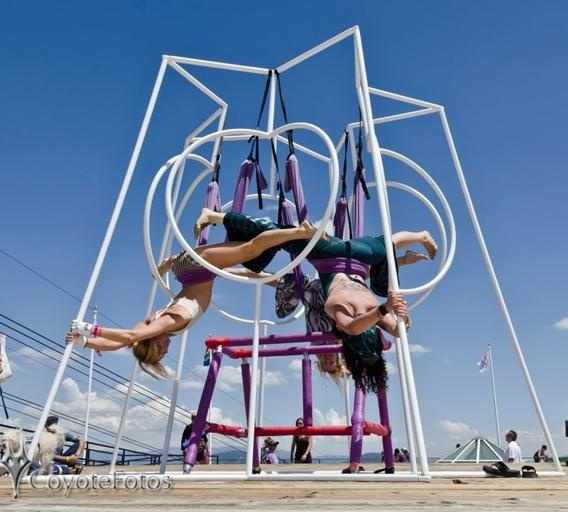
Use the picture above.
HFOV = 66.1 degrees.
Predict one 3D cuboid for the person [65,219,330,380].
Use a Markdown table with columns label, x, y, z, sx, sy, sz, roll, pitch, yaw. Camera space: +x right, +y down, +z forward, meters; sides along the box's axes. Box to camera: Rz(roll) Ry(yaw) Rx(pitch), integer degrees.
| label | x | y | z | sx | sy | sz | roll | pitch | yaw |
| --- | --- | --- | --- | --- | --- | --- | --- | --- | --- |
| person | -1.006 | 0.497 | 4.955 | 2.252 | 1.539 | 1.122 | -7 | -29 | 13 |

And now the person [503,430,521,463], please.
| label | x | y | z | sx | sy | sz | roll | pitch | yaw |
| --- | --- | --- | --- | --- | --- | --- | --- | --- | --- |
| person | 5.571 | 4.674 | 10.710 | 0.354 | 0.700 | 1.350 | -12 | -30 | 22 |

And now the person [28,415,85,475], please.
| label | x | y | z | sx | sy | sz | roll | pitch | yaw |
| --- | --- | --- | --- | --- | --- | --- | --- | --- | --- |
| person | -3.506 | 3.109 | 7.062 | 0.614 | 0.774 | 0.668 | 3 | -22 | 14 |

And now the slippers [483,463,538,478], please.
| label | x | y | z | sx | sy | sz | roll | pitch | yaw |
| --- | --- | --- | --- | --- | --- | --- | --- | --- | --- |
| slippers | 2.355 | 2.218 | 4.552 | 0.518 | 0.148 | 0.418 | -4 | -27 | 7 |

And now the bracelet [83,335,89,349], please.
| label | x | y | z | sx | sy | sz | roll | pitch | yaw |
| --- | --- | --- | --- | --- | --- | --- | --- | --- | --- |
| bracelet | -2.054 | 0.883 | 4.503 | 0.076 | 0.101 | 0.033 | 1 | 3 | 7 |

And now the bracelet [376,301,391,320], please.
| label | x | y | z | sx | sy | sz | roll | pitch | yaw |
| --- | --- | --- | --- | --- | --- | --- | --- | --- | --- |
| bracelet | 0.935 | 0.519 | 4.120 | 0.106 | 0.099 | 0.269 | -5 | -28 | 11 |
